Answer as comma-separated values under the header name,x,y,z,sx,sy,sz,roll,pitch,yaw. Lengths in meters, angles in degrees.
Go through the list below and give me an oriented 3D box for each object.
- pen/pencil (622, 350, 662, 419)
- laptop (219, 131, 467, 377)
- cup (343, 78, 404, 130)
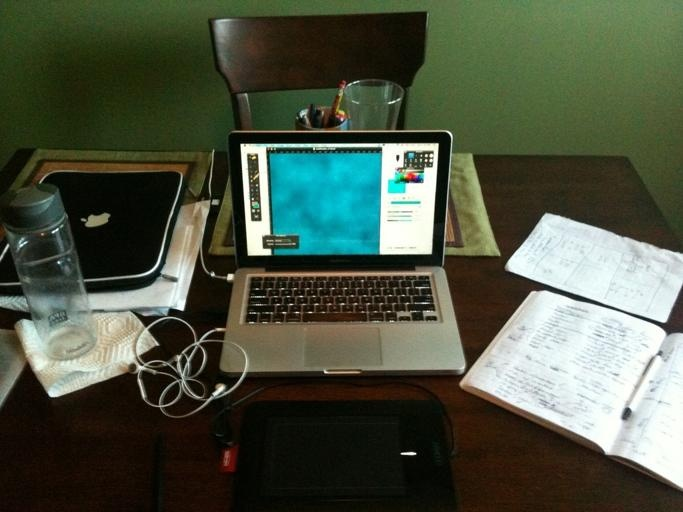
name,x,y,z,sx,sy,sz,roll,pitch,yaw
pen/pencil,0.513,0.225,0.990,0.012,0.015,0.108,39,90,4
laptop,0.003,-0.021,1.052,0.465,0.302,0.380,-7,43,-9
cup,0.076,-0.367,1.377,0.132,0.110,0.144,-1,44,1
